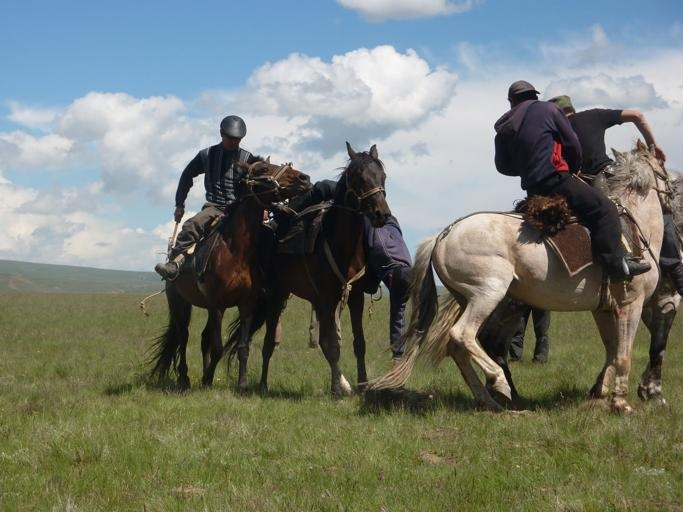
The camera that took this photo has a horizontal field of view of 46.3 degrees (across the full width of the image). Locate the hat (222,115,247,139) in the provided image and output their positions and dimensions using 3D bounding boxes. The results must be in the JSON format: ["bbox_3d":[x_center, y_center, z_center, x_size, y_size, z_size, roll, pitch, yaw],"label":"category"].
[{"bbox_3d":[-1.881,-2.265,13.882,0.402,0.413,1.321,-2,7,-8],"label":"hat"}]

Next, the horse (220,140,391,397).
[{"bbox_3d":[-0.481,0.542,14.693,1.281,3.919,4.997,2,-13,-28],"label":"horse"}]

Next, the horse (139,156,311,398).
[{"bbox_3d":[-2.307,0.712,14.668,1.264,3.963,5.482,2,-9,-33],"label":"horse"}]
